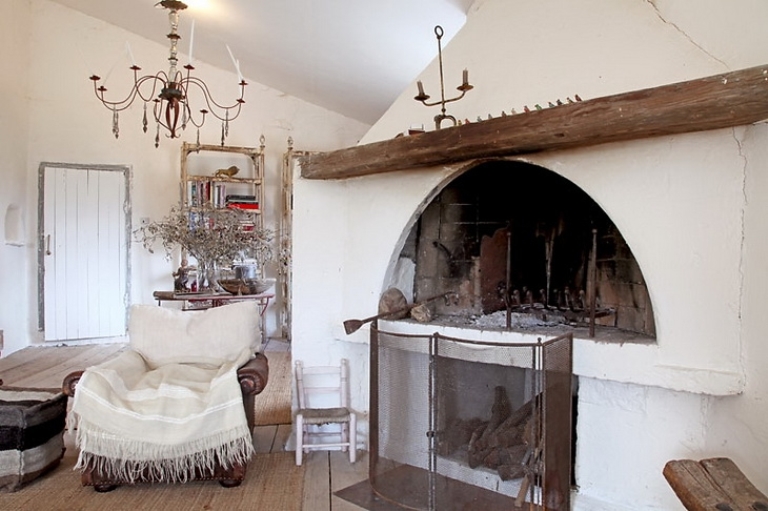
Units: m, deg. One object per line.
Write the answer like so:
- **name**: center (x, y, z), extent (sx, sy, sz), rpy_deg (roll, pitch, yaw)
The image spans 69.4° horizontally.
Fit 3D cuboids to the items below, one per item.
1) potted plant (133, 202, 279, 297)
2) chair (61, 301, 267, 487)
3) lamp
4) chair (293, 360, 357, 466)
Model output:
- **potted plant**: center (-2.153, -0.158, 6.552), extent (1.272, 1.026, 1.395), rpy_deg (3, 3, 10)
- **chair**: center (-1.500, 0.872, 4.207), extent (1.166, 1.049, 1.251), rpy_deg (0, -1, -7)
- **lamp**: center (-2.776, -2.243, 6.878), extent (2.065, 1.748, 2.071), rpy_deg (-2, 5, -34)
- **chair**: center (-0.460, 1.183, 4.266), extent (0.481, 0.654, 0.520), rpy_deg (-1, 10, -10)
